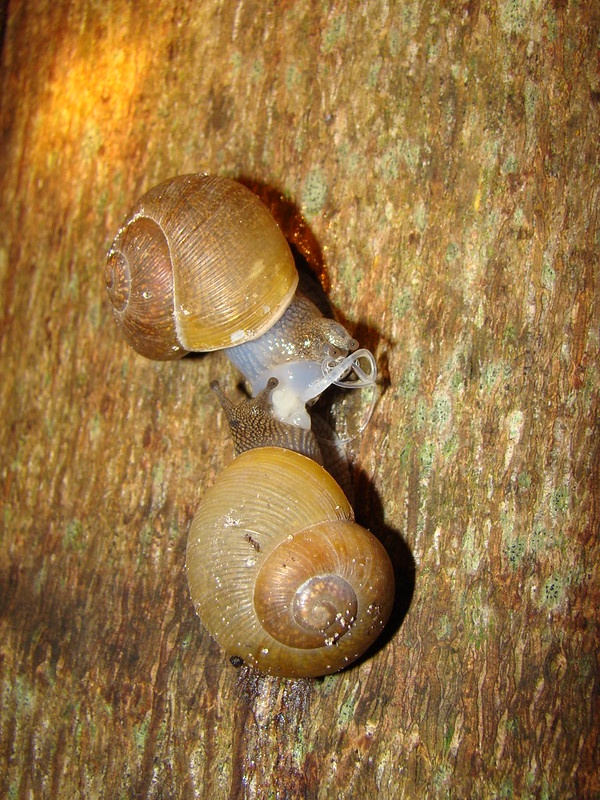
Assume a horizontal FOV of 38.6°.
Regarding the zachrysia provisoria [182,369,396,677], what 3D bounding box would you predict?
[{"bbox_3d":[-0.023,0.264,1.397,0.338,0.236,0.308,-3,52,31],"label":"zachrysia provisoria"}]
